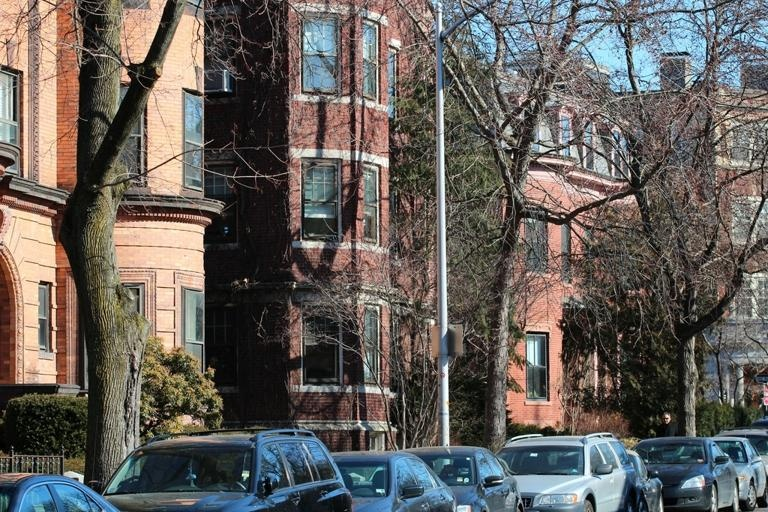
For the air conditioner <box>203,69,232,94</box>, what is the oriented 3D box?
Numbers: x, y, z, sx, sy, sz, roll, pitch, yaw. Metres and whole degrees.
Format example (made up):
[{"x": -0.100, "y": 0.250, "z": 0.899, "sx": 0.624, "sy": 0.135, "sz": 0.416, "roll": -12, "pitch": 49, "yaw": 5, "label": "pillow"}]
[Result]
[{"x": -5.493, "y": -5.523, "z": 57.053, "sx": 0.914, "sy": 0.934, "sz": 0.835, "roll": 0, "pitch": -10, "yaw": -4, "label": "air conditioner"}]
